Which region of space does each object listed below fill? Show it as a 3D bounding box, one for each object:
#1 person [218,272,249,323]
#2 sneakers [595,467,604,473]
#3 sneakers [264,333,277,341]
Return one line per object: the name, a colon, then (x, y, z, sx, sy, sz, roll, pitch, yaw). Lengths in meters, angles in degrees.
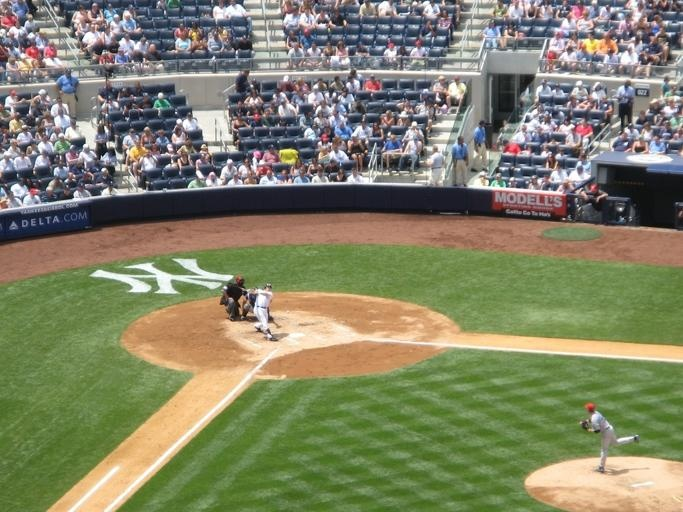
person: (-3.235, 1.129, 39.238, 0.798, 1.333, 1.814, 0, 18, -4)
sneakers: (6.428, 5.257, 32.066, 0.123, 0.109, 0.176, 0, 19, -4)
sneakers: (-2.009, 2.343, 37.502, 0.200, 0.122, 0.422, 3, 1, -9)
